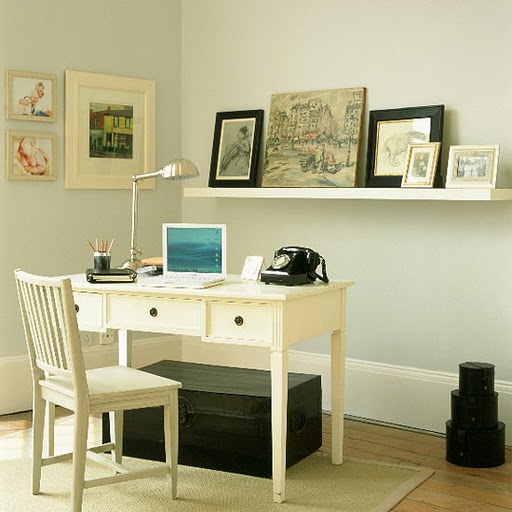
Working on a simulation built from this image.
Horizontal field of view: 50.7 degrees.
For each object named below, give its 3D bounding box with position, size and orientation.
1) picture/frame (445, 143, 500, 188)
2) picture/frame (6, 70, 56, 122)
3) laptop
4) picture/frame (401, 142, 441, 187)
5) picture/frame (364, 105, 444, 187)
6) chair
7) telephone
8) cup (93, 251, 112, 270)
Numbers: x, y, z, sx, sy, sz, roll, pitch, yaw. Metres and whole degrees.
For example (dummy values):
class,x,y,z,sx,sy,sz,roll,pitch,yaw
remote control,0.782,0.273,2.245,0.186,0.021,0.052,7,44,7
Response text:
class,x,y,z,sx,sy,sz,roll,pitch,yaw
picture/frame,1.064,-0.437,2.633,0.252,0.228,0.018,3,-6,36
picture/frame,-1.362,-0.959,3.242,0.356,0.318,0.040,-1,3,-42
laptop,-0.302,-0.003,2.365,0.398,0.307,0.279,2,2,23
picture/frame,0.843,-0.461,2.763,0.175,0.238,0.076,1,1,37
picture/frame,0.811,-0.580,2.894,0.501,0.506,0.037,2,-3,44
chair,-0.611,0.500,2.081,0.499,0.888,0.523,-1,1,-39
telephone,0.169,0.037,2.411,0.306,0.151,0.288,-3,7,-39
cup,-0.692,0.016,2.474,0.094,0.089,0.127,1,4,-8
